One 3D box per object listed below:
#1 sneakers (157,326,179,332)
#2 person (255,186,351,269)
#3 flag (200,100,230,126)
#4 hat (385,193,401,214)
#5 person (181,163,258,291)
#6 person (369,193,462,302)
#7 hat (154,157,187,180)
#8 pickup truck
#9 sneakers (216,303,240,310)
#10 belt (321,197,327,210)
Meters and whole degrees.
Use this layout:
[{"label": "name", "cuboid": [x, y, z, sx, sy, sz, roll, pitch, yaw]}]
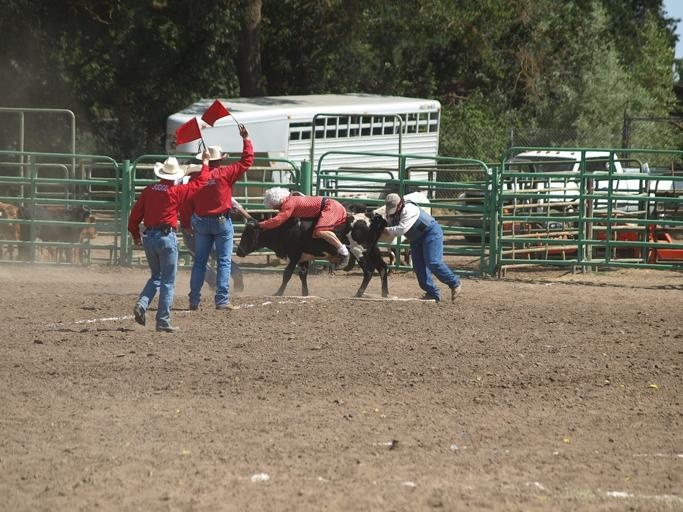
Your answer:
[{"label": "sneakers", "cuboid": [-2.273, 0.955, 13.252, 0.290, 0.124, 0.107, 0, 3, -4]}, {"label": "person", "cuboid": [-0.531, -0.522, 15.545, 1.507, 1.034, 0.829, 6, 10, 14]}, {"label": "flag", "cuboid": [-1.801, -2.055, 14.376, 0.239, 0.358, 0.494, -2, 4, -35]}, {"label": "hat", "cuboid": [0.785, -0.811, 14.979, 0.194, 0.302, 0.153, 0, -28, 33]}, {"label": "person", "cuboid": [-2.005, -0.355, 15.941, 1.144, 2.146, 0.558, -2, 10, 28]}, {"label": "person", "cuboid": [1.173, -0.140, 15.268, 1.316, 1.623, 0.586, -2, 4, -31]}, {"label": "hat", "cuboid": [-2.248, -1.114, 13.302, 0.326, 0.162, 0.410, 9, 33, 0]}, {"label": "pickup truck", "cuboid": [4.685, -1.424, 18.751, 5.582, 1.900, 2.034, 1, -2, -32]}, {"label": "sneakers", "cuboid": [-1.582, 0.705, 14.211, 0.314, 0.139, 0.107, -1, 5, -13]}, {"label": "belt", "cuboid": [-0.248, -0.808, 15.316, 0.051, 0.150, 0.103, 18, -8, -10]}]
